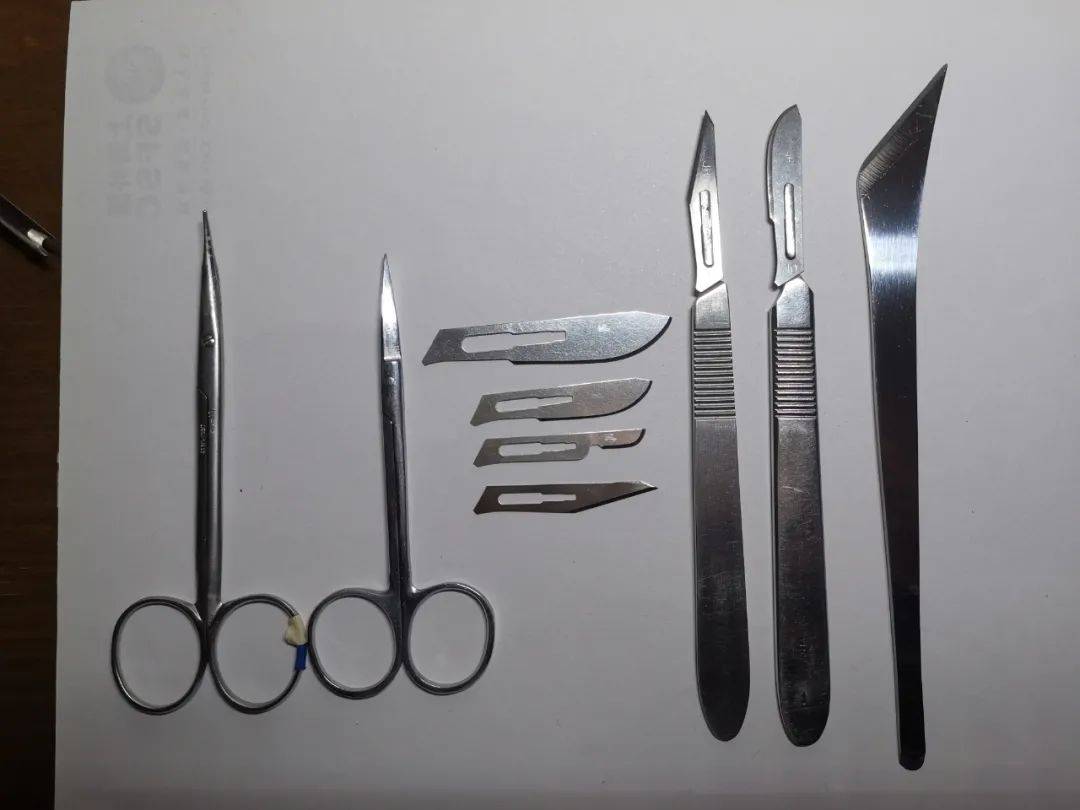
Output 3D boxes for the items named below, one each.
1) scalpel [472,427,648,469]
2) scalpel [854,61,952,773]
[{"bbox_3d":[0.029,0.066,2.167,0.249,0.060,0.013,1,-7,3],"label":"scalpel"},{"bbox_3d":[0.542,0.016,2.182,0.133,1.052,0.098,0,-7,12],"label":"scalpel"}]
